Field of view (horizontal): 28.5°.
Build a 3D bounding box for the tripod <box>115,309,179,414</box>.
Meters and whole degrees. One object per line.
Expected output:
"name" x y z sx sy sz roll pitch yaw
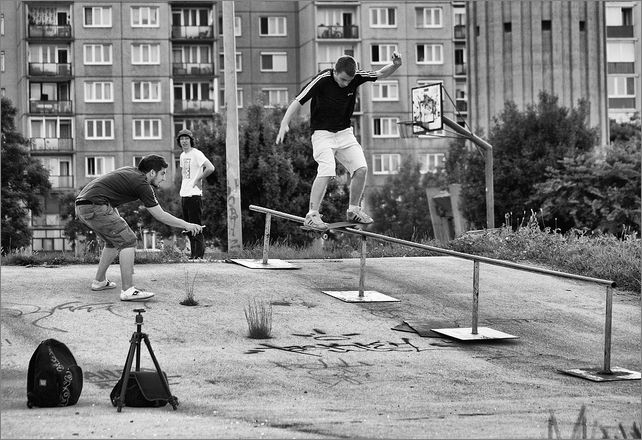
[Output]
"tripod" -5.268 4.125 37.017 1.897 2.957 0.649 -1 2 -9
